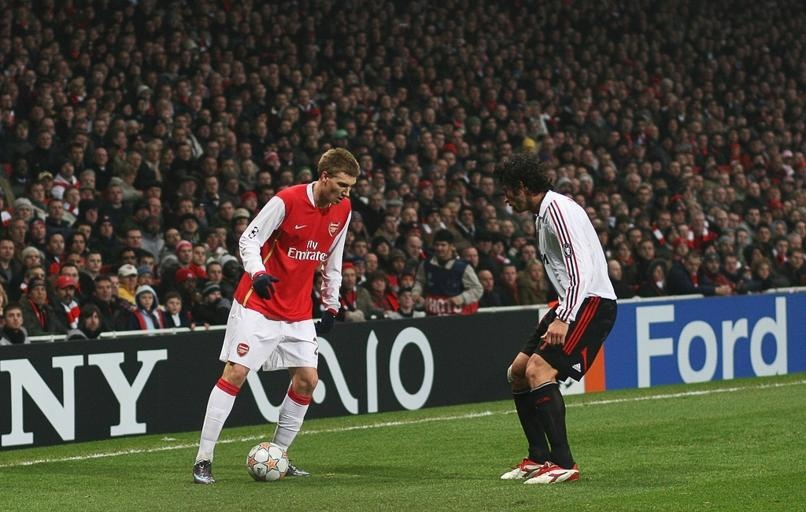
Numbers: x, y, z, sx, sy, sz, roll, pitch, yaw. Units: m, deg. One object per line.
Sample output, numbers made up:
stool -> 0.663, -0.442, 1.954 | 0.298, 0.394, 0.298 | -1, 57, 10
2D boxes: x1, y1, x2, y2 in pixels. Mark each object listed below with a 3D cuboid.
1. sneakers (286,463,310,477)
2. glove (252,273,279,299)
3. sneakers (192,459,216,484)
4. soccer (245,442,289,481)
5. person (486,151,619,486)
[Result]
sneakers -> -0.993, 2.092, 13.836 | 0.297, 0.110, 0.094 | 0, -1, 4
glove -> -1.320, 0.265, 13.435 | 0.210, 0.249, 0.087 | -7, 9, 7
sneakers -> -1.935, 2.063, 13.656 | 0.205, 0.213, 0.178 | -2, -1, -8
soccer -> -1.314, 1.988, 13.788 | 0.448, 0.391, 0.421 | 2, 5, -1
person -> 1.490, 0.584, 13.493 | 1.112, 3.015, 0.421 | -3, -1, 3
